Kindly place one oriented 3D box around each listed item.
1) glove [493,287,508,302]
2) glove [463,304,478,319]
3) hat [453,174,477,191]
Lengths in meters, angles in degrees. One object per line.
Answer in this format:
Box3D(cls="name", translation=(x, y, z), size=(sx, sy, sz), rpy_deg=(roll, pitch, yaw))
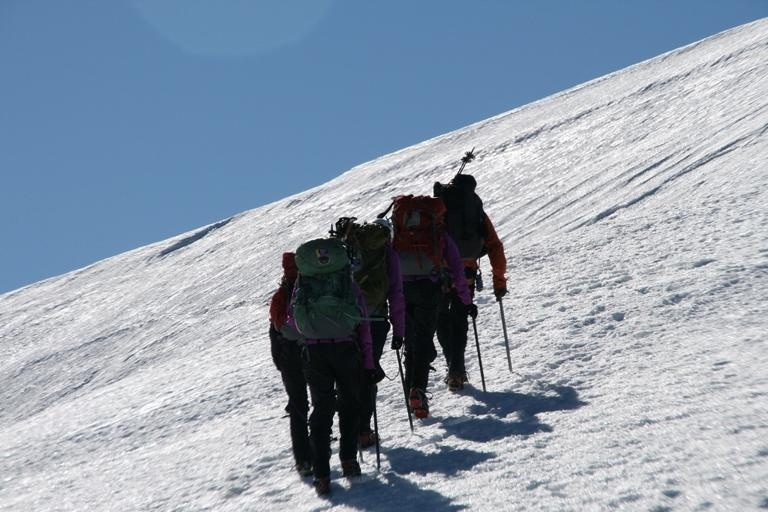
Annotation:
Box3D(cls="glove", translation=(3.408, 1.127, 33.110), size=(0.407, 0.334, 0.430), rpy_deg=(2, 6, 14))
Box3D(cls="glove", translation=(2.540, 1.599, 32.708), size=(0.525, 0.410, 0.338), rpy_deg=(-2, 8, -4))
Box3D(cls="hat", translation=(2.398, -2.170, 32.989), size=(0.689, 0.383, 0.471), rpy_deg=(17, -4, 8))
